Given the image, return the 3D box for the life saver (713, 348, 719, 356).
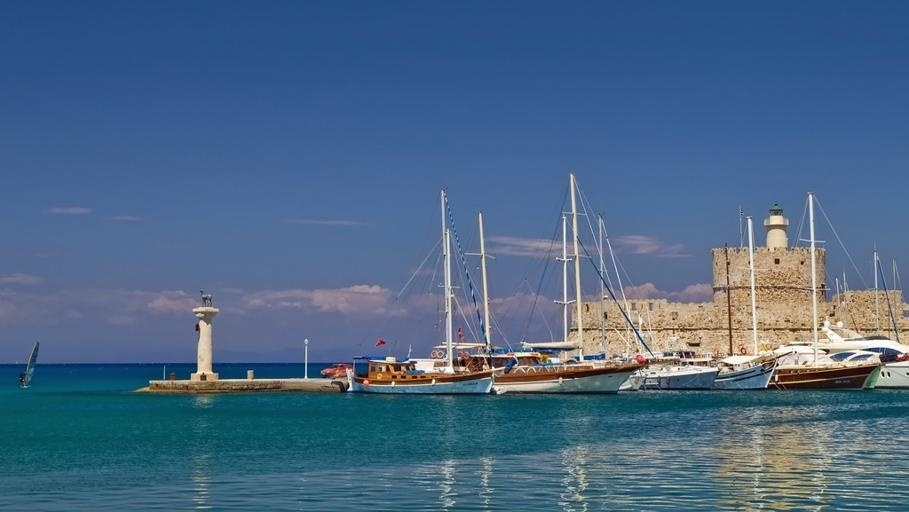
[{"bbox_3d":[26.183,9.545,144.572,0.561,0.557,0.212,-3,-7,-13],"label":"life saver"}]
